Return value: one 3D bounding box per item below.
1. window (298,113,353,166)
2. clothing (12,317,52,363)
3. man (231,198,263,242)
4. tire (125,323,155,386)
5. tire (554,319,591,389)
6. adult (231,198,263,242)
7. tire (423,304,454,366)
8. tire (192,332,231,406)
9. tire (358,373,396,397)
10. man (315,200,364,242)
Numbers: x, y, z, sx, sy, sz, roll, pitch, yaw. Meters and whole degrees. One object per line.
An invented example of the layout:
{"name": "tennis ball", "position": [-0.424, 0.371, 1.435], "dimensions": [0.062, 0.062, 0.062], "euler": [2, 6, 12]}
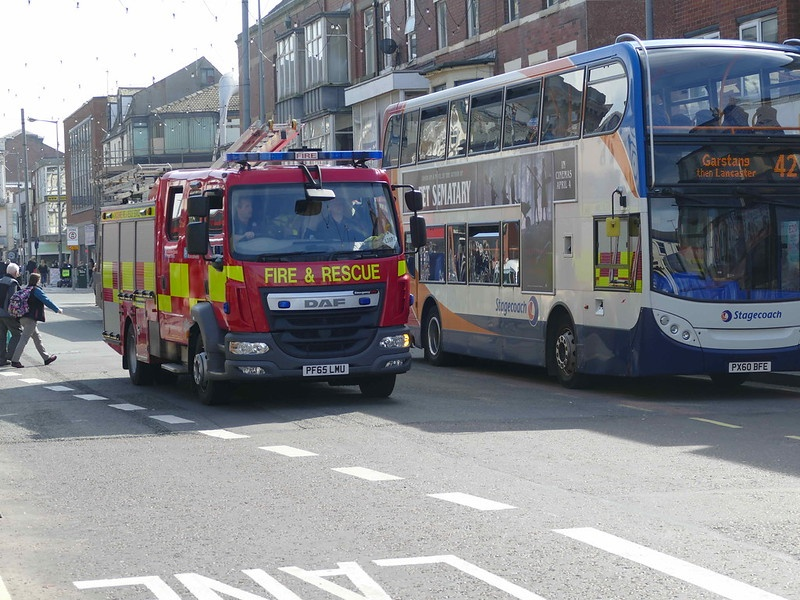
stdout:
{"name": "window", "position": [-4.119, -8.944, 43.220], "dimensions": [3.332, 2.380, 3.493], "euler": [10, 5, -8]}
{"name": "clothing", "position": [-9.117, 0.953, 19.700], "dimensions": [0.871, 1.075, 1.711], "euler": [-3, 3, -12]}
{"name": "man", "position": [-2.244, -1.165, 11.474], "dimensions": [0.451, 0.853, 0.374], "euler": [3, -17, -30]}
{"name": "tire", "position": [-5.053, 1.100, 15.312], "dimensions": [0.349, 1.155, 1.061], "euler": [-2, 23, -26]}
{"name": "tire", "position": [3.007, 0.903, 13.570], "dimensions": [0.265, 1.065, 0.861], "euler": [6, -21, -8]}
{"name": "adult", "position": [-2.244, -1.165, 11.474], "dimensions": [0.451, 0.853, 0.374], "euler": [3, -17, -30]}
{"name": "tire", "position": [0.956, 0.834, 18.072], "dimensions": [0.449, 1.487, 1.357], "euler": [0, -11, -17]}
{"name": "tire", "position": [-3.010, 1.078, 12.412], "dimensions": [0.432, 1.129, 1.024], "euler": [-3, -10, -23]}
{"name": "tire", "position": [-0.367, 1.357, 12.581], "dimensions": [0.431, 0.509, 0.159], "euler": [-2, 6, -32]}
{"name": "man", "position": [-0.899, -1.189, 11.719], "dimensions": [0.693, 0.641, 0.258], "euler": [-3, 3, -7]}
